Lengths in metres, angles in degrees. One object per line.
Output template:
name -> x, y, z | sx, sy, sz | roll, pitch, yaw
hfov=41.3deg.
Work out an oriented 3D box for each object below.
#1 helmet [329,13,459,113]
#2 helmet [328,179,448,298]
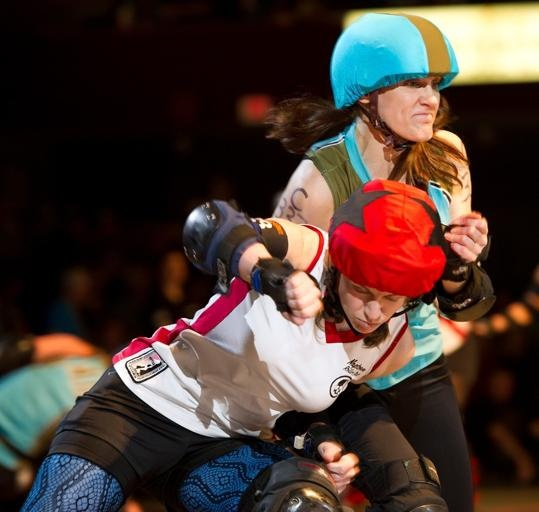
helmet -> 0.385, -0.570, 2.167 | 0.267, 0.239, 0.319 | 1, 4, -43
helmet -> 0.287, -0.042, 1.783 | 0.248, 0.156, 0.298 | 14, 41, -6
